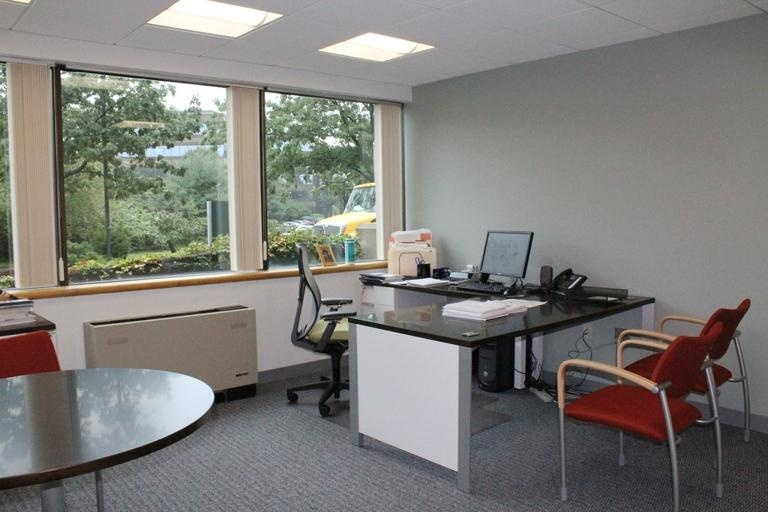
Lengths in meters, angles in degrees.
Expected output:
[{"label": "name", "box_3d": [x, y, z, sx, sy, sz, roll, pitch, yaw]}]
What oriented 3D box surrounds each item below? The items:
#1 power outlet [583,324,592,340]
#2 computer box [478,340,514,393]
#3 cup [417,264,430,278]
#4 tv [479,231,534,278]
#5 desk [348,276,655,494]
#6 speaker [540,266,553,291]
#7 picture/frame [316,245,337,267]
[{"label": "power outlet", "box_3d": [2.038, 0.737, 5.577, 0.092, 0.122, 0.037, 5, 0, 39]}, {"label": "computer box", "box_3d": [1.162, 1.107, 5.775, 0.332, 0.540, 0.417, 1, 2, 32]}, {"label": "cup", "box_3d": [0.449, 0.157, 6.212, 0.126, 0.210, 0.127, 0, 9, 0]}, {"label": "tv", "box_3d": [1.261, -0.017, 5.634, 0.051, 0.392, 0.481, 19, -5, -35]}, {"label": "desk", "box_3d": [1.052, 0.997, 5.011, 2.474, 1.022, 1.282, -3, 5, -43]}, {"label": "speaker", "box_3d": [1.590, 0.209, 5.456, 0.117, 0.226, 0.053, 4, -4, 24]}, {"label": "picture/frame", "box_3d": [-0.676, -0.007, 6.494, 0.264, 0.294, 0.030, -5, -20, -39]}]
